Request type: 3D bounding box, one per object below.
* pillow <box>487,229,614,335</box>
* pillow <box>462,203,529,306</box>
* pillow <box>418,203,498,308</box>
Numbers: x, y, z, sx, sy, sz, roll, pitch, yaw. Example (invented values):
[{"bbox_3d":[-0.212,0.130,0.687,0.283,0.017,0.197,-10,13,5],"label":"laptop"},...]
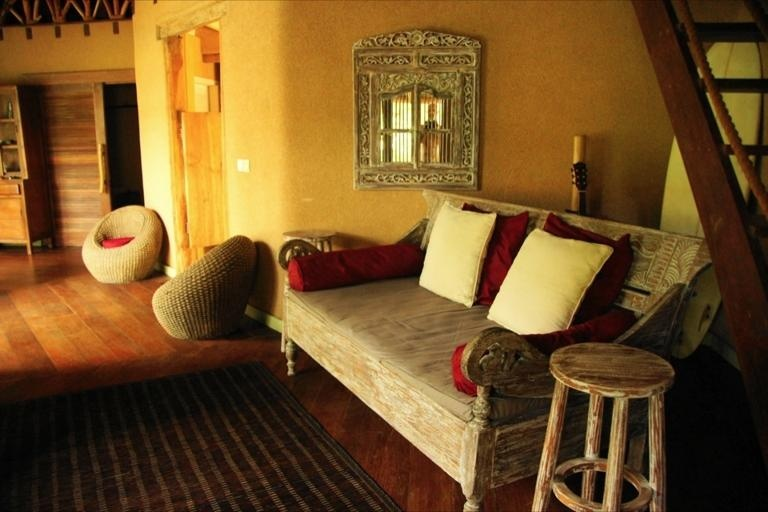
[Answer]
[{"bbox_3d":[1.053,0.199,3.252,0.199,0.583,0.646,31,0,-34],"label":"pillow"},{"bbox_3d":[0.761,0.004,3.659,0.603,0.522,0.180,16,1,45],"label":"pillow"},{"bbox_3d":[0.503,-0.012,3.758,0.201,0.598,0.649,15,4,-40],"label":"pillow"}]
